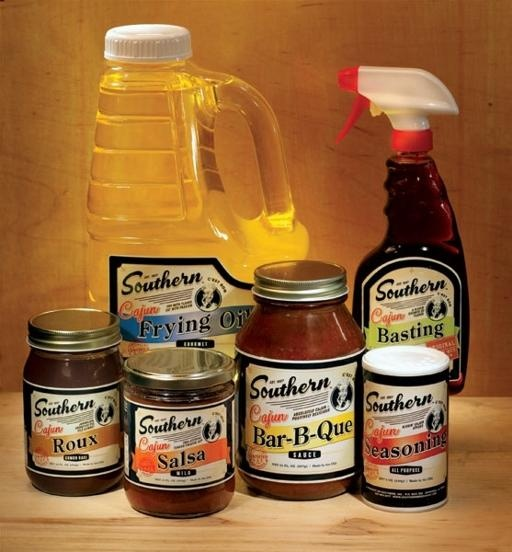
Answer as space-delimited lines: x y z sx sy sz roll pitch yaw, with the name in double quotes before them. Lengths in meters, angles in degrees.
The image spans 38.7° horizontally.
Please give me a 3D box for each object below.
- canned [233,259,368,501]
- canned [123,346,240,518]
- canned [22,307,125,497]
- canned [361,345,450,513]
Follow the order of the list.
"canned" 0.045 0.131 0.777 0.137 0.214 0.081 0 14 4
"canned" -0.082 0.160 0.760 0.124 0.161 0.117 -2 13 -3
"canned" -0.199 0.138 0.808 0.109 0.190 0.112 -1 14 0
"canned" 0.159 0.156 0.773 0.091 0.152 0.115 2 14 13
